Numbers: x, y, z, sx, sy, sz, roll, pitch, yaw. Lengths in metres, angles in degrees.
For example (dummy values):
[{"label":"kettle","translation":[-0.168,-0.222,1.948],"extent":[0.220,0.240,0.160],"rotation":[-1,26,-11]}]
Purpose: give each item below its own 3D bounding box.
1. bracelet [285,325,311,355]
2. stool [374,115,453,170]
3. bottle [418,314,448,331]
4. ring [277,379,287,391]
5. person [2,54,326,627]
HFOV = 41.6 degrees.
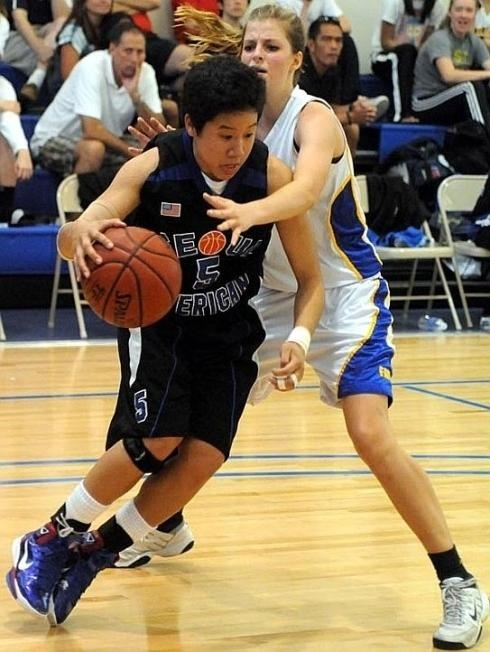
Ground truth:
[{"label":"bracelet","translation":[0.107,0.024,1.243],"extent":[0.048,0.053,0.055],"rotation":[3,14,23]},{"label":"stool","translation":[1.519,-1.600,6.005],"extent":[0.778,0.408,0.397],"rotation":[-1,5,-12]},{"label":"bottle","translation":[1.502,-0.018,5.100],"extent":[0.218,0.091,0.126],"rotation":[14,-3,-22]},{"label":"ring","translation":[0.066,0.102,1.154],"extent":[0.026,0.030,0.004],"rotation":[5,40,10]},{"label":"person","translation":[-0.178,0.047,1.221],"extent":[0.538,1.054,0.278],"rotation":[0,8,-11]}]
